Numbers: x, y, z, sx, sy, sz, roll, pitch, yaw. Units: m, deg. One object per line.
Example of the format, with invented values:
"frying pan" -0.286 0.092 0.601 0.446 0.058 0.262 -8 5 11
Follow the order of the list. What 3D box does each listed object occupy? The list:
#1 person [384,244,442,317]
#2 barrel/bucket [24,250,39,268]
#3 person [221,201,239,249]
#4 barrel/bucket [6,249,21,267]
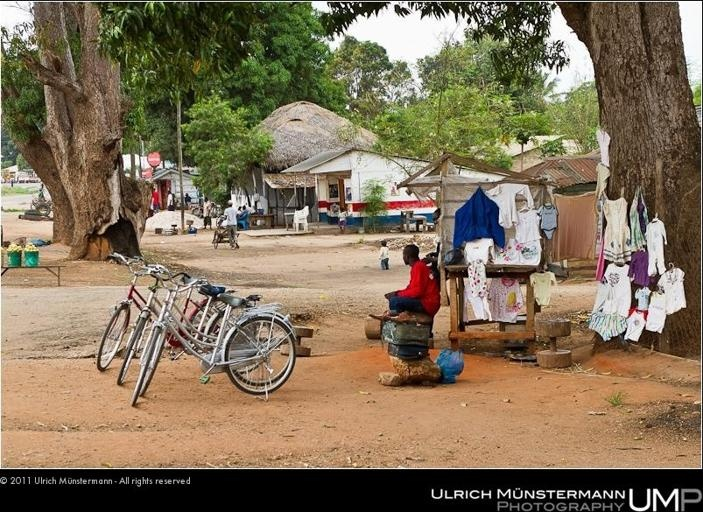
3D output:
"person" 0.983 0.615 10.709 0.890 1.503 0.654 2 0 15
"barrel/bucket" -8.306 0.063 17.139 0.491 0.504 0.450 1 -3 0
"person" -5.420 -1.319 29.605 0.565 1.778 1.430 -3 5 -11
"barrel/bucket" -8.823 0.058 17.301 0.433 0.476 0.428 2 0 0
